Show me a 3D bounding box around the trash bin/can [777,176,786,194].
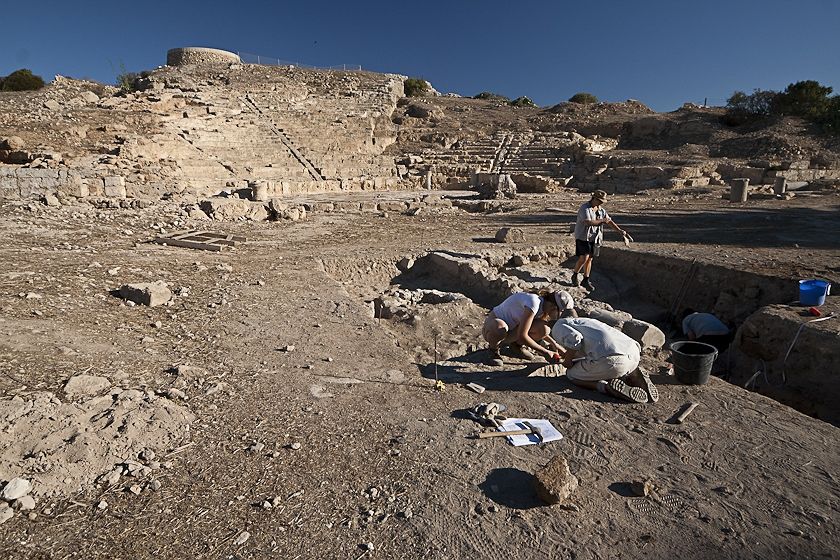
[{"bbox_3d":[11.023,-2.864,16.952,0.305,0.494,0.451,14,21,27],"label":"trash bin/can"}]

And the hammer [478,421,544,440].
[{"bbox_3d":[0.890,1.523,5.568,0.649,0.080,0.162,0,16,-9],"label":"hammer"}]

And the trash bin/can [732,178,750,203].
[{"bbox_3d":[9.441,-2.606,16.358,0.463,0.643,0.587,11,20,20],"label":"trash bin/can"}]

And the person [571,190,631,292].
[{"bbox_3d":[3.171,-0.707,9.829,0.793,1.767,1.276,11,20,18],"label":"person"}]

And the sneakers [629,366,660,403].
[{"bbox_3d":[2.453,1.134,6.090,0.444,0.186,0.187,53,3,31],"label":"sneakers"}]

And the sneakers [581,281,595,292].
[{"bbox_3d":[2.989,0.115,9.766,0.271,0.133,0.266,22,9,32],"label":"sneakers"}]

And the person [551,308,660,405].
[{"bbox_3d":[2.034,0.841,6.396,0.999,0.609,1.445,-3,16,-29],"label":"person"}]

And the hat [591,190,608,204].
[{"bbox_3d":[2.987,-1.349,9.196,0.268,0.215,0.209,0,18,-11],"label":"hat"}]

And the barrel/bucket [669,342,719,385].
[{"bbox_3d":[3.106,0.956,6.371,0.570,0.330,0.524,-2,14,0],"label":"barrel/bucket"}]

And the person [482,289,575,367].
[{"bbox_3d":[1.314,0.547,6.822,1.251,0.675,0.719,5,3,16],"label":"person"}]

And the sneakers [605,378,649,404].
[{"bbox_3d":[2.253,1.201,5.978,0.442,0.122,0.219,12,30,28],"label":"sneakers"}]
